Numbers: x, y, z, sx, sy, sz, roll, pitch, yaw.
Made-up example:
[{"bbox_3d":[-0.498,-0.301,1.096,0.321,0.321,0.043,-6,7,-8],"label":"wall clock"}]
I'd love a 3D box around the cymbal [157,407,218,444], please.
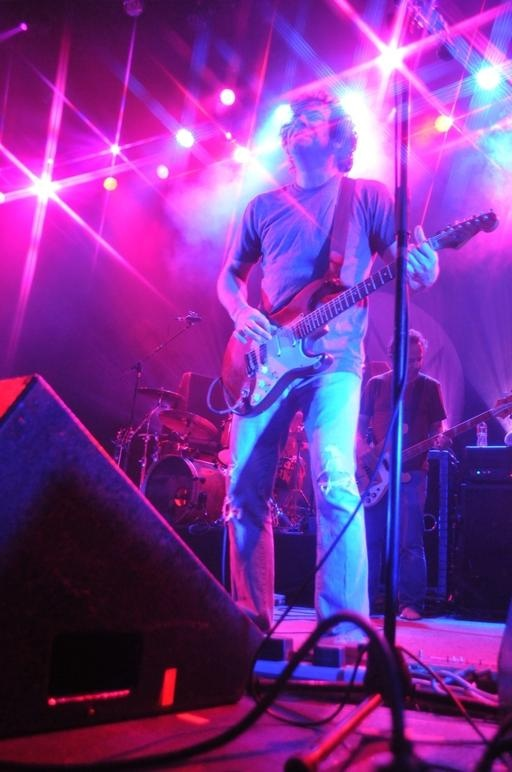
[{"bbox_3d":[-0.539,0.337,5.395,0.328,0.088,0.352,24,-38,-3],"label":"cymbal"}]

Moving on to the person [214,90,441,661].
[{"bbox_3d":[0.223,-0.090,2.197,0.851,2.059,0.482,-5,-17,29],"label":"person"}]
